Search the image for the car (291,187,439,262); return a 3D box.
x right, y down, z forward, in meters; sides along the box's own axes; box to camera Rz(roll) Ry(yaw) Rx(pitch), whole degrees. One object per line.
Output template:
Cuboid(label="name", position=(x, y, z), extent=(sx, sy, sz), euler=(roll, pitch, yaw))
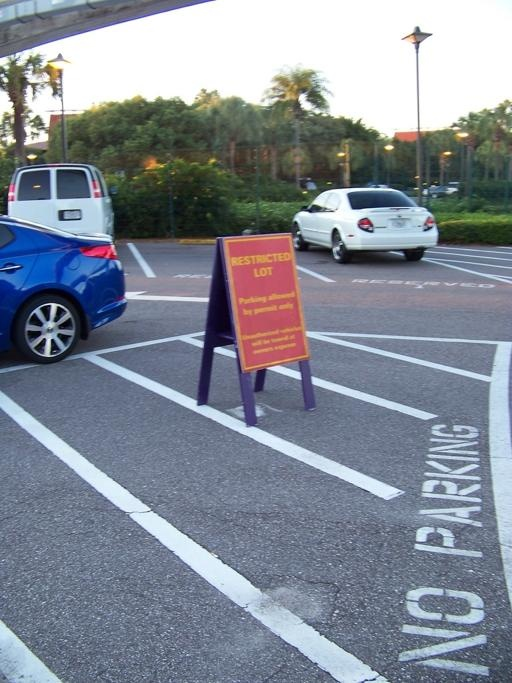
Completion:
Cuboid(label="car", position=(2.541, -3.332, 15.660), extent=(2.040, 1.370, 4.221), euler=(-4, 17, -15))

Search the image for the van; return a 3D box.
Cuboid(label="van", position=(-4.666, -3.276, 14.891), extent=(2.667, 2.065, 4.011), euler=(1, 19, -4))
